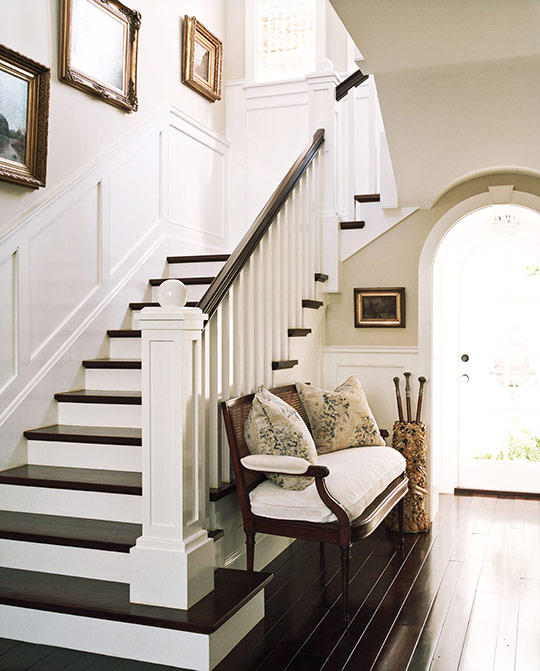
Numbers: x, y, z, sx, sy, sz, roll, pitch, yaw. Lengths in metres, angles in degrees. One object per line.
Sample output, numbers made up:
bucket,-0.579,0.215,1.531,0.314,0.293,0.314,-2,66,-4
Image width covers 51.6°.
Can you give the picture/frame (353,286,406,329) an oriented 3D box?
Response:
picture/frame,0.784,-0.205,3.916,0.240,0.245,0.021,1,2,20
